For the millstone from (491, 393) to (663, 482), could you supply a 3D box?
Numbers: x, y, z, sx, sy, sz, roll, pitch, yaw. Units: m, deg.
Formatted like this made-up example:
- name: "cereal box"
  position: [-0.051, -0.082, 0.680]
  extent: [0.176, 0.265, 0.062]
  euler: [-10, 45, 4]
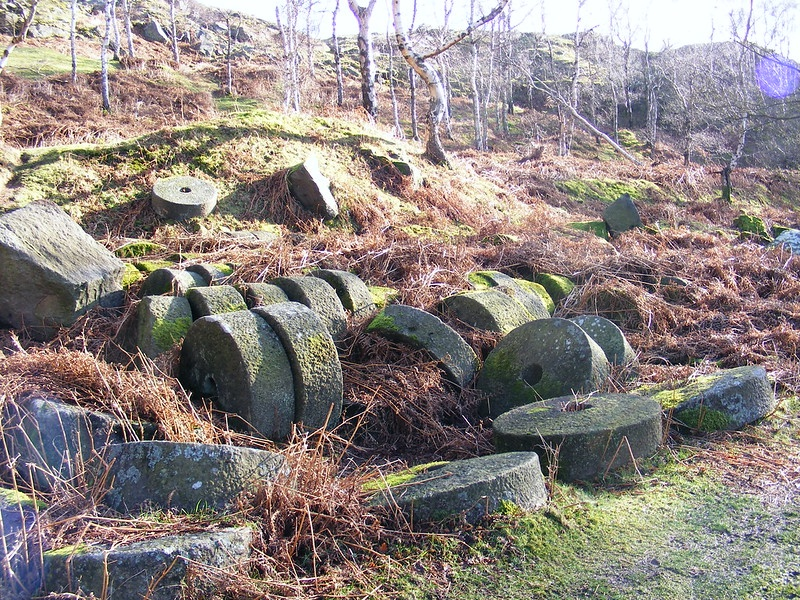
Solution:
- name: "millstone"
  position: [1.682, 1.228, 7.679]
  extent: [1.593, 0.668, 0.752]
  euler: [3, 12, -16]

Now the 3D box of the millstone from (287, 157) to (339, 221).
- name: "millstone"
  position: [-1.385, -1.784, 13.138]
  extent: [0.857, 0.923, 0.435]
  euler: [4, 11, -10]

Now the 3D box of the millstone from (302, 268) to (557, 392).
- name: "millstone"
  position: [0.020, 0.295, 8.801]
  extent: [1.379, 0.333, 1.392]
  euler: [39, -20, -19]

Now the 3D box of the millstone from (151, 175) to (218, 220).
- name: "millstone"
  position: [-3.247, -1.499, 12.299]
  extent: [0.929, 0.589, 0.672]
  euler: [1, 12, -25]

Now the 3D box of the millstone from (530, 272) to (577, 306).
- name: "millstone"
  position: [2.112, -0.182, 11.069]
  extent: [0.384, 0.215, 0.438]
  euler: [22, 18, -6]

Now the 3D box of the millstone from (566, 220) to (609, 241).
- name: "millstone"
  position: [3.446, -1.291, 14.757]
  extent: [0.921, 0.258, 0.727]
  euler: [-2, 15, -35]

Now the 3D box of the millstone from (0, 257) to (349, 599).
- name: "millstone"
  position: [-1.776, 1.184, 8.148]
  extent: [2.366, 2.281, 0.596]
  euler: [-30, -10, -13]

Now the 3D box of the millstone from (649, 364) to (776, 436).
- name: "millstone"
  position: [3.141, 0.937, 8.120]
  extent: [1.190, 0.598, 0.452]
  euler: [5, 11, -7]
